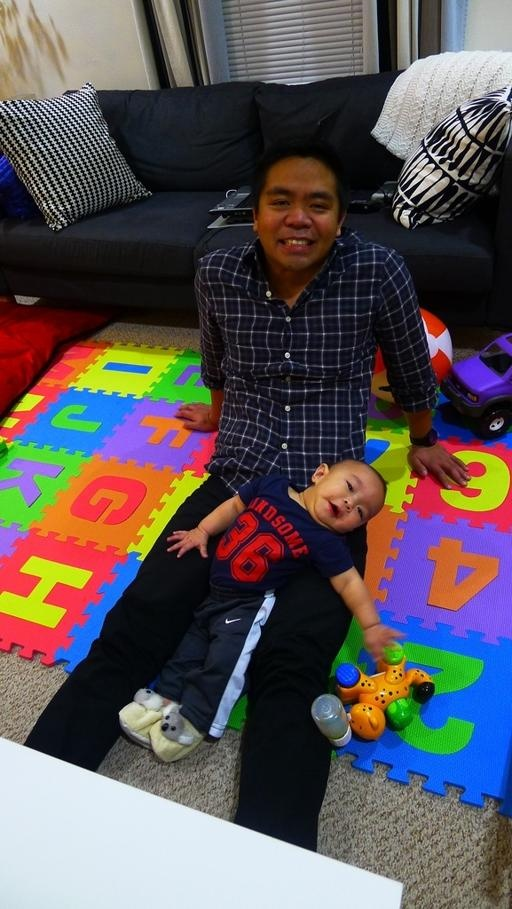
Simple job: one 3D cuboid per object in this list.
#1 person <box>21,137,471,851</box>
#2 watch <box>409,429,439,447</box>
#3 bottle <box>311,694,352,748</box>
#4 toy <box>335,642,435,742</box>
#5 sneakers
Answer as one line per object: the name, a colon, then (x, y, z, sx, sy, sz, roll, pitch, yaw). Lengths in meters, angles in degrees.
person: (0.053, -0.062, 1.143, 0.651, 0.690, 1.254, 9, 50, 14)
watch: (0.454, -0.039, 1.532, 0.051, 0.057, 0.028, -4, 74, 29)
bottle: (0.119, 0.434, 0.914, 0.061, 0.127, 0.085, 9, 61, 9)
toy: (0.229, 0.424, 1.015, 0.164, 0.120, 0.116, -21, 41, -5)
sneakers: (-0.170, 0.474, 0.987, 0.110, 0.048, 0.125, -31, 57, -34)
